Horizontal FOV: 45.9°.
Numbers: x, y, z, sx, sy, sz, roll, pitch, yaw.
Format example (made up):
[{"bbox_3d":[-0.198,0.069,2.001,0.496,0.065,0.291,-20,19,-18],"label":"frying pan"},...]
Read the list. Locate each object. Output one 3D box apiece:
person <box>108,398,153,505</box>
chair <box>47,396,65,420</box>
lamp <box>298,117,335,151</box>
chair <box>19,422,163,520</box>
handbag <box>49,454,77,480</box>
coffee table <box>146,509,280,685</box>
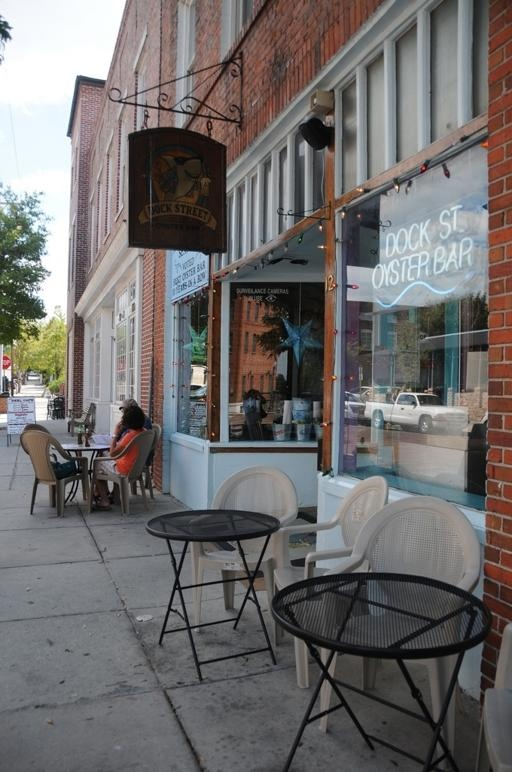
[{"bbox_3d":[-1.541,0.943,8.131,0.473,1.432,0.408,-14,18,-34],"label":"person"},{"bbox_3d":[-9.024,0.940,27.202,0.696,0.985,1.221,1,-2,-20],"label":"chair"},{"bbox_3d":[0.408,-1.683,4.051,0.213,0.203,0.187,1,-2,-14],"label":"lamp"},{"bbox_3d":[-1.976,1.004,7.274,1.487,1.104,0.953,-5,6,-42],"label":"chair"},{"bbox_3d":[-2.319,0.978,7.223,0.260,0.138,0.376,2,2,5],"label":"handbag"},{"bbox_3d":[-0.206,1.071,3.183,0.573,0.736,0.575,-2,1,-39],"label":"coffee table"}]
